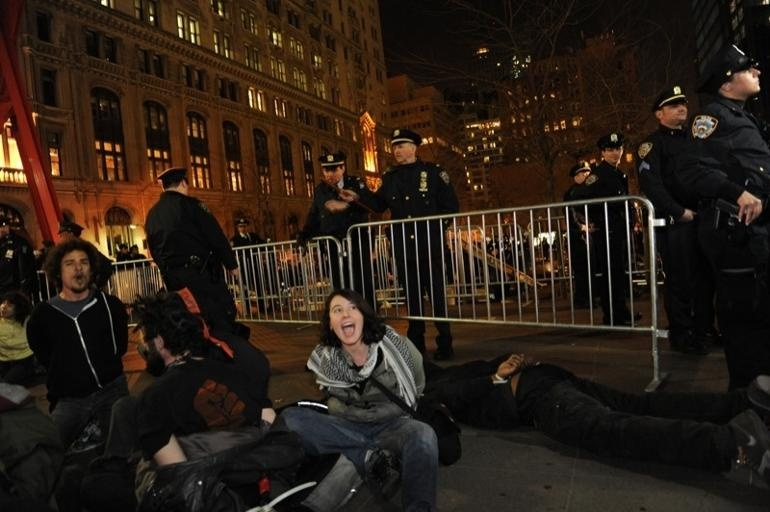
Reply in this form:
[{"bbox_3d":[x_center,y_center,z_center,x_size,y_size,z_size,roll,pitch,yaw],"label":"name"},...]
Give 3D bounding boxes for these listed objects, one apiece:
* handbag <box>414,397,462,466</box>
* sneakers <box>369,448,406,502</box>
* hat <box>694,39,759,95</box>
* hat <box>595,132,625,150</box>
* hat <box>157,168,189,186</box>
[{"bbox_3d":[0.539,1.619,5.535,0.226,0.590,0.428,-22,2,-2],"label":"handbag"},{"bbox_3d":[0.026,1.894,5.302,0.148,0.378,0.296,-3,14,-43],"label":"sneakers"},{"bbox_3d":[3.441,-1.922,6.339,0.595,0.324,0.458,-29,5,33],"label":"hat"},{"bbox_3d":[3.687,-1.929,10.079,0.363,0.158,0.396,-2,-2,-5],"label":"hat"},{"bbox_3d":[-2.843,-1.084,8.160,0.314,0.116,0.295,-5,3,18],"label":"hat"}]
